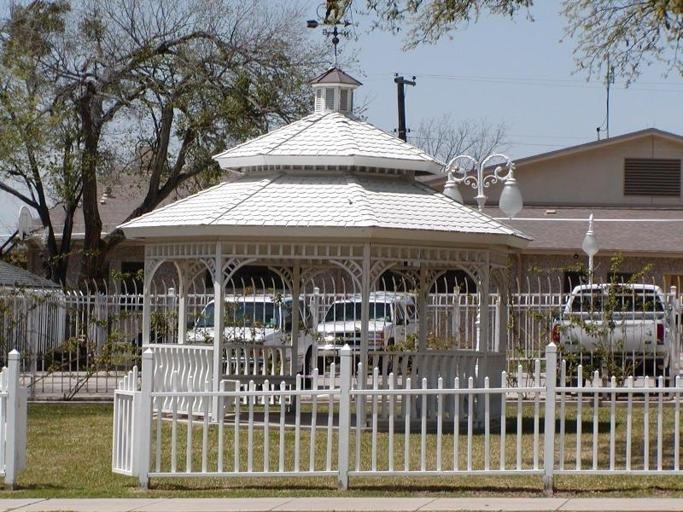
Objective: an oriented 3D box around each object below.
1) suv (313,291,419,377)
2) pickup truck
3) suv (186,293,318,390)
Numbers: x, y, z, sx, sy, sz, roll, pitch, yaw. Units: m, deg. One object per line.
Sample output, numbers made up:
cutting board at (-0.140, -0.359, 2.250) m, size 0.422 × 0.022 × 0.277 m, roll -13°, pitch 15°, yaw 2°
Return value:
suv at (0.620, 1.636, 34.802) m, size 1.430 × 1.490 × 2.908 m, roll -1°, pitch -5°, yaw 14°
pickup truck at (5.898, 1.628, 30.901) m, size 1.833 × 1.598 × 3.265 m, roll 0°, pitch 4°, yaw 7°
suv at (-1.824, 1.635, 32.599) m, size 1.593 × 1.586 × 3.100 m, roll -1°, pitch -6°, yaw 13°
